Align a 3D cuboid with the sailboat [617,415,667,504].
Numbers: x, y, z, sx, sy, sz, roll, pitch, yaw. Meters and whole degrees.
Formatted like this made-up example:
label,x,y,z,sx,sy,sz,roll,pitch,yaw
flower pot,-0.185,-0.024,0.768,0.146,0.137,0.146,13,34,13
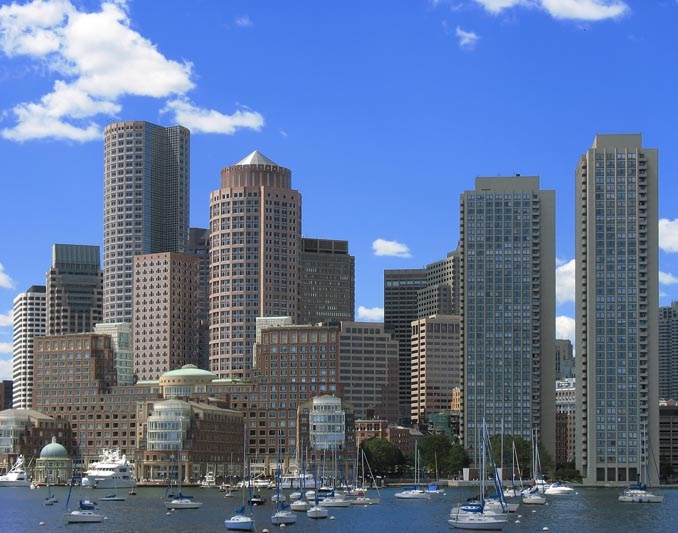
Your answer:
label,x,y,z,sx,sy,sz,roll,pitch,yaw
sailboat,89.923,59.340,459.717,13.467,22.577,6.724,-1,-2,21
